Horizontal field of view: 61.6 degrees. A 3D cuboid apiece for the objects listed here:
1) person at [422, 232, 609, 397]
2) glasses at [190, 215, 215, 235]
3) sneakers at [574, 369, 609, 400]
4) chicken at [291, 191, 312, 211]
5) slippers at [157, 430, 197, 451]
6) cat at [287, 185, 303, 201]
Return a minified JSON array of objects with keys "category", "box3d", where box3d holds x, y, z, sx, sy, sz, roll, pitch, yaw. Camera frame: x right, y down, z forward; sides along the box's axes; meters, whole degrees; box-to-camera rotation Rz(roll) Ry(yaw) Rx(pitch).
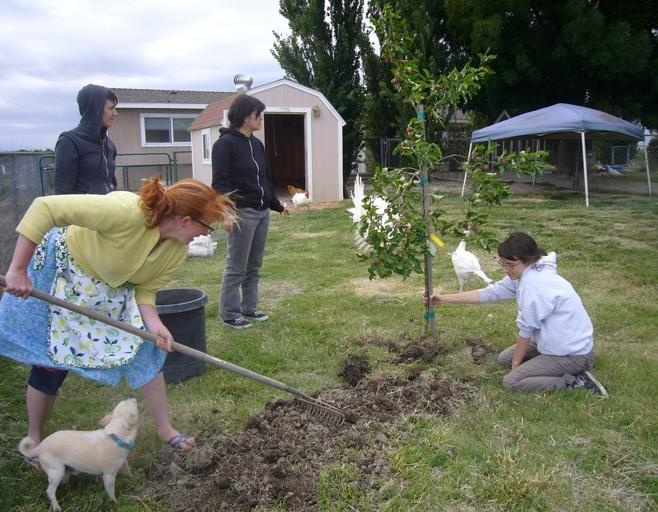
[{"category":"person","box3d":[1.599,0.432,5.304,1.558,1.447,1.003,2,5,12]},{"category":"glasses","box3d":[-0.829,-0.213,3.611,0.031,0.113,0.109,-36,-23,4]},{"category":"sneakers","box3d":[2.139,1.056,4.604,0.117,0.142,0.324,-20,36,-26]},{"category":"chicken","box3d":[-0.845,-1.578,15.290,0.247,0.554,0.768,-5,18,-21]},{"category":"slippers","box3d":[-1.042,1.308,3.876,0.204,0.055,0.113,14,30,-32]},{"category":"cat","box3d":[-0.949,-1.780,15.879,0.338,0.623,1.105,6,10,-9]}]
